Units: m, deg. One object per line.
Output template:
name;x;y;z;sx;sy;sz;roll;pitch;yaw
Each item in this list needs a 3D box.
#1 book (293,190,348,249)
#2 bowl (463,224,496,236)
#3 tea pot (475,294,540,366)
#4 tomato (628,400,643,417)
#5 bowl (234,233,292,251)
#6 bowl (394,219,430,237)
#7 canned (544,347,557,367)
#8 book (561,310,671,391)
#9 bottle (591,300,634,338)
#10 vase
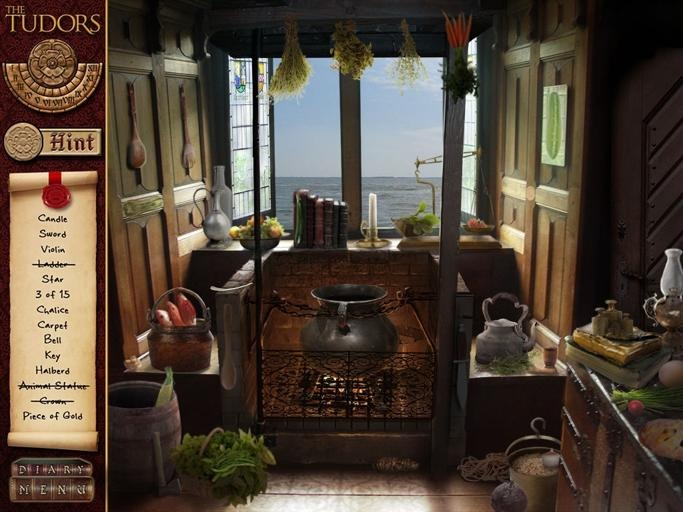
book;-0.175;-0.287;4.410;0.423;0.442;0.103;1;10;12
bowl;1.166;-0.217;4.590;0.289;0.119;0.311;-1;11;0
tea pot;1.098;0.490;3.833;0.483;0.588;0.392;0;8;5
tomato;0.974;0.507;1.797;0.039;0.045;0.042;-3;-2;9
bowl;-0.666;-0.105;4.473;0.326;0.122;0.256;-4;11;-15
bowl;0.587;-0.229;4.480;0.187;0.082;0.196;5;-11;1
canned;1.363;0.656;3.504;0.103;0.130;0.050;-5;10;-19
book;1.084;0.312;2.030;0.262;0.103;0.266;-14;20;-28
bottle;1.076;0.257;2.135;0.148;0.146;0.157;1;3;-2
vase;0.047;0.515;3.488;0.626;0.552;0.526;-2;10;-5
